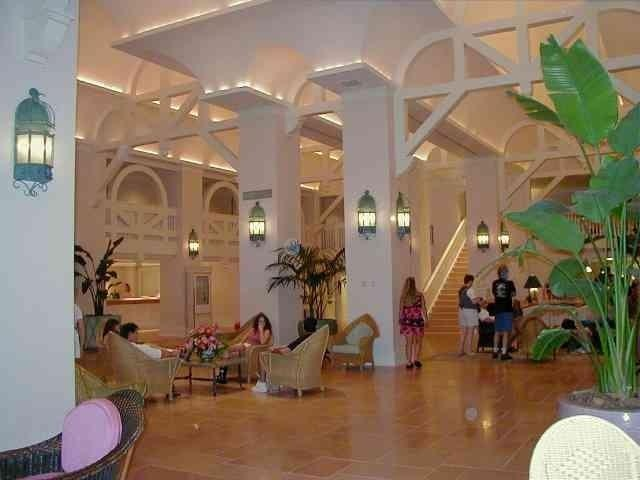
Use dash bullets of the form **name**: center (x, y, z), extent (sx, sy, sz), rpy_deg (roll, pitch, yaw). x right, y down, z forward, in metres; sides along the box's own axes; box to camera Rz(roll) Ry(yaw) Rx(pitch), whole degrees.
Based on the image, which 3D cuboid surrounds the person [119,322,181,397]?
- **person**: center (-2.792, 1.757, 7.759), extent (1.017, 1.273, 0.964), rpy_deg (-1, -1, -31)

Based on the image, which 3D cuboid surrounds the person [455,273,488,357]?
- **person**: center (3.131, 1.547, 10.426), extent (0.577, 1.639, 0.566), rpy_deg (2, -4, -22)

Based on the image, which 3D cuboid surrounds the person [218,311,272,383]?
- **person**: center (-1.090, 1.848, 8.584), extent (0.660, 0.781, 0.874), rpy_deg (14, -46, -26)

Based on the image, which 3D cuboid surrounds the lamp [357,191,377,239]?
- **lamp**: center (0.919, -0.491, 9.675), extent (0.365, 0.947, 0.190), rpy_deg (-2, -3, 15)

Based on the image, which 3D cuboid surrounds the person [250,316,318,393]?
- **person**: center (-0.463, 1.858, 8.371), extent (1.155, 1.551, 1.039), rpy_deg (1, -6, 6)

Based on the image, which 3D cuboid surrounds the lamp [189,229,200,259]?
- **lamp**: center (-3.952, 0.120, 15.743), extent (0.164, 0.891, 0.375), rpy_deg (-3, -4, 30)

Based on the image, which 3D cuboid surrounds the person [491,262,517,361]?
- **person**: center (3.626, 1.443, 9.947), extent (0.547, 1.846, 0.520), rpy_deg (7, -8, -31)

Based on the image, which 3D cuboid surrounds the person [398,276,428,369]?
- **person**: center (1.773, 1.557, 9.526), extent (0.523, 1.674, 0.666), rpy_deg (-2, -3, 11)

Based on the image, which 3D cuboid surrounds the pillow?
- **pillow**: center (-1.401, 1.198, 3.206), extent (0.443, 0.479, 0.111), rpy_deg (0, -3, 30)

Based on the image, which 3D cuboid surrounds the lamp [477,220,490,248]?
- **lamp**: center (4.539, -0.129, 13.944), extent (0.340, 0.779, 0.198), rpy_deg (-1, -3, -7)

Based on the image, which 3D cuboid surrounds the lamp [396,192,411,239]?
- **lamp**: center (1.610, -0.487, 9.835), extent (0.348, 0.952, 0.297), rpy_deg (0, 1, 14)

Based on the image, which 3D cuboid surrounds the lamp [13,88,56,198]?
- **lamp**: center (-2.190, -0.777, 3.842), extent (0.261, 0.866, 0.328), rpy_deg (1, -4, -34)

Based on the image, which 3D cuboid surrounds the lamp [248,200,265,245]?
- **lamp**: center (-1.399, -0.290, 10.634), extent (0.337, 0.884, 0.321), rpy_deg (-3, 3, -42)

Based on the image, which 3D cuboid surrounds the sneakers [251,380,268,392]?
- **sneakers**: center (-0.934, 2.295, 7.827), extent (0.232, 0.161, 0.146), rpy_deg (0, -5, 42)

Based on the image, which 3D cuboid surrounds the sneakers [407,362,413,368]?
- **sneakers**: center (1.664, 2.341, 9.294), extent (0.113, 0.114, 0.065), rpy_deg (-4, -17, 32)
